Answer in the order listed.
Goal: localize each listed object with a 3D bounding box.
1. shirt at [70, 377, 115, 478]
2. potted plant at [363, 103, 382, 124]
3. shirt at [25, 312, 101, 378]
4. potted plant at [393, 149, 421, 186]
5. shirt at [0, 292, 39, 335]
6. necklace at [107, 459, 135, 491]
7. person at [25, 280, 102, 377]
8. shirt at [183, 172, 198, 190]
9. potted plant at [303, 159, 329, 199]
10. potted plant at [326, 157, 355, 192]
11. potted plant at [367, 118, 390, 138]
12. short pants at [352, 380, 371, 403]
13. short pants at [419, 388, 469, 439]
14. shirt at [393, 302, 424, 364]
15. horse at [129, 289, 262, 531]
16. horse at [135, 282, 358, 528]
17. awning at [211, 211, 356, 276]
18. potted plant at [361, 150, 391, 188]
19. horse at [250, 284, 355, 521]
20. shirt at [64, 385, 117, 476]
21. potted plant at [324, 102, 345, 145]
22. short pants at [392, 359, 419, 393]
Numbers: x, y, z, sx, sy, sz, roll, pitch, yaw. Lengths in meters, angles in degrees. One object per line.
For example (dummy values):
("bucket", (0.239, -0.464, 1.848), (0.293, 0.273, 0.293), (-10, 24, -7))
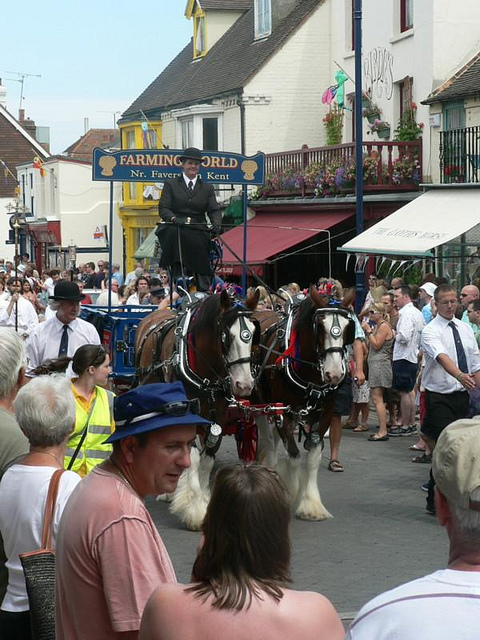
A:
("shirt", (-0.879, 0.589, 6.992), (0.362, 0.484, 0.507), (0, 4, -8))
("potted plant", (2.841, -4.520, 26.609), (0.475, 0.459, 0.421), (0, -9, 3))
("shirt", (-1.268, 0.199, 9.157), (0.617, 0.491, 0.269), (1, 26, 0))
("potted plant", (3.358, -3.088, 24.876), (0.547, 0.733, 0.469), (0, 6, 7))
("shirt", (-2.475, -0.081, 13.819), (0.536, 0.630, 0.389), (0, -9, -9))
("necklace", (-0.415, 0.506, 4.168), (0.027, 0.161, 0.016), (-41, 7, 24))
("person", (-1.291, 0.252, 9.101), (0.577, 1.048, 0.320), (0, 0, -23))
("shirt", (-0.532, -1.481, 13.126), (0.148, 0.195, 0.071), (-1, 3, -9))
("potted plant", (1.678, -3.129, 27.207), (0.667, 0.837, 0.439), (2, 0, 1))
("potted plant", (2.125, -3.094, 26.097), (0.446, 0.714, 1.136), (-1, 6, -8))
("potted plant", (2.972, -4.117, 26.330), (0.446, 0.227, 0.577), (-1, -12, 11))
("short pants", (1.404, 0.844, 14.264), (0.212, 0.253, 0.263), (0, -2, 0))
("short pants", (1.637, 0.731, 10.003), (0.384, 0.520, 0.386), (-2, 3, -36))
("shirt", (1.870, 0.150, 13.981), (0.397, 0.686, 0.564), (1, 6, 21))
("horse", (-0.464, 0.639, 10.235), (0.593, 1.816, 2.637), (2, 3, -21))
("horse", (-0.289, 0.392, 10.415), (0.986, 1.620, 3.175), (-14, 8, -14))
("awning", (1.644, -1.538, 29.437), (2.216, 1.189, 5.236), (-7, -1, 3))
("potted plant", (2.777, -3.090, 25.157), (0.511, 0.734, 0.507), (-1, 6, -5))
("horse", (0.455, 0.615, 9.789), (0.654, 1.827, 1.621), (-2, 6, -10))
("shirt", (-0.792, 0.626, 7.030), (0.361, 0.486, 0.279), (-5, -7, 26))
("potted plant", (2.285, -4.750, 29.736), (0.424, 1.006, 0.731), (-1, 6, -5))
("short pants", (1.811, 0.637, 13.842), (0.311, 0.489, 0.391), (4, -2, 20))
